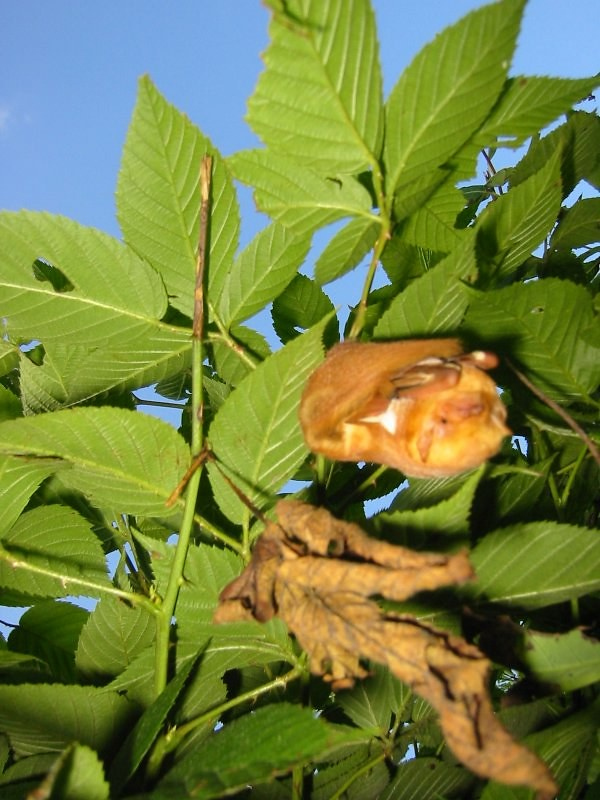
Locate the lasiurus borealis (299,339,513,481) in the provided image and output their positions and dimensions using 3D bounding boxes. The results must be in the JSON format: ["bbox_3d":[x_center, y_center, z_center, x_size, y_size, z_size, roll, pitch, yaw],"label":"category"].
[{"bbox_3d":[0.096,0.013,0.965,0.160,0.101,0.231,-8,3,-31],"label":"lasiurus borealis"}]
